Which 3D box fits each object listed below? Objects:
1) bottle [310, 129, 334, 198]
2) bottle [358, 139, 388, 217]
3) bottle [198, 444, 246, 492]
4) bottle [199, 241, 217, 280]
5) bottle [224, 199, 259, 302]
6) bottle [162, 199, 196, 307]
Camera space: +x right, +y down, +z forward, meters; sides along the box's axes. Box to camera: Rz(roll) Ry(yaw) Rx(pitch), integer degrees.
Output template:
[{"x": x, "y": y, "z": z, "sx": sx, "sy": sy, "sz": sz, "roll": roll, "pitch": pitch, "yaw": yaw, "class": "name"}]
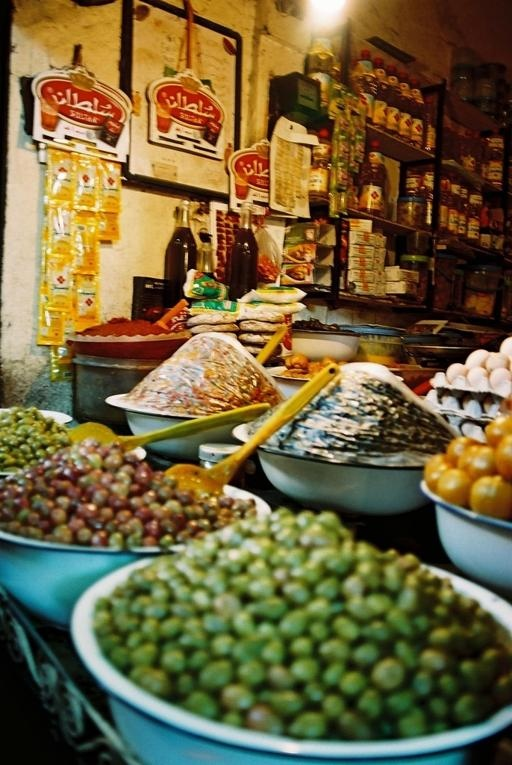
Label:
[{"x": 0.278, "y": -0.946, "z": 2.500, "sx": 0.075, "sy": 0.297, "sz": 0.103, "roll": 4, "pitch": 16, "yaw": 22, "class": "bottle"}, {"x": 0.550, "y": -0.952, "z": 2.742, "sx": 0.105, "sy": 0.297, "sz": 0.241, "roll": 3, "pitch": 16, "yaw": 16, "class": "bottle"}, {"x": -0.034, "y": 0.094, "z": 0.659, "sx": 0.050, "sy": 0.051, "sz": 0.048, "roll": 2, "pitch": 3, "yaw": 14, "class": "bottle"}, {"x": -0.181, "y": -0.437, "z": 2.063, "sx": 0.059, "sy": 0.118, "sz": 0.160, "roll": -3, "pitch": 15, "yaw": -4, "class": "bottle"}, {"x": -0.051, "y": -0.459, "z": 2.019, "sx": 0.119, "sy": 0.317, "sz": 0.308, "roll": -3, "pitch": 15, "yaw": -2, "class": "bottle"}, {"x": -0.262, "y": -0.433, "z": 1.958, "sx": 0.115, "sy": 0.345, "sz": 0.165, "roll": -4, "pitch": 15, "yaw": -6, "class": "bottle"}]
